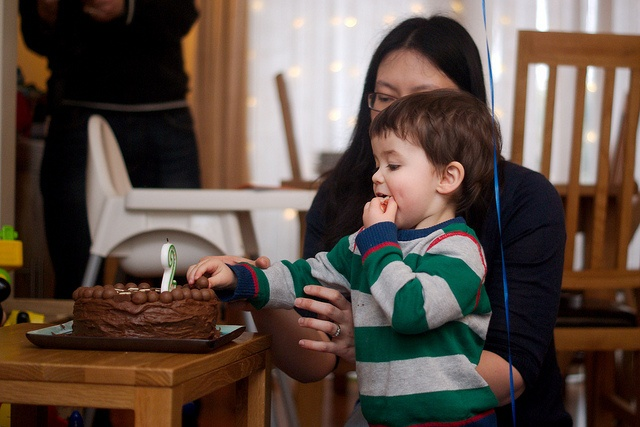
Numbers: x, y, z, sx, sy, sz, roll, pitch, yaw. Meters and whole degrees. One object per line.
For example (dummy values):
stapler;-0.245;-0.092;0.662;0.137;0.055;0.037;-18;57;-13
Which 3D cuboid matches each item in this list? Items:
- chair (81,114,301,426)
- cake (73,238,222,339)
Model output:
chair;-0.560;0.300;3.306;1.285;1.685;1.208;-2;-3;8
cake;-0.461;0.171;1.522;0.282;0.199;0.295;1;0;15
